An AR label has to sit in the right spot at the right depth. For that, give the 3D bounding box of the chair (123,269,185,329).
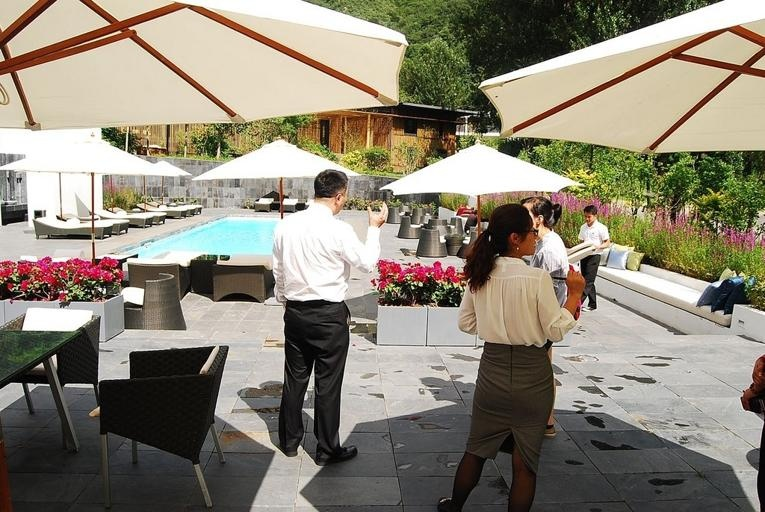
[{"bbox_3d":[-3.574,0.669,8.433,0.886,0.701,0.778,4,1,1],"label":"chair"}]

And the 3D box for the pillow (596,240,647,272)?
[{"bbox_3d":[5.444,-0.010,12.480,0.968,0.871,0.289,19,1,44],"label":"pillow"}]

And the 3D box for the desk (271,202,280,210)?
[{"bbox_3d":[-6.143,-2.881,31.175,0.499,0.352,0.494,-1,-1,-5],"label":"desk"}]

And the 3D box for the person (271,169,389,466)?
[{"bbox_3d":[-0.527,0.533,4.751,0.904,2.561,0.430,1,-2,1],"label":"person"}]

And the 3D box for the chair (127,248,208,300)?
[{"bbox_3d":[-4.424,0.288,10.490,0.854,0.643,1.555,5,5,-21],"label":"chair"}]

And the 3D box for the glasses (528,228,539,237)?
[{"bbox_3d":[1.132,-0.184,4.082,0.114,0.036,0.119,0,12,1],"label":"glasses"}]

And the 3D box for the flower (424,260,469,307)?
[{"bbox_3d":[0.933,0.399,8.222,0.604,0.473,0.618,0,2,-3],"label":"flower"}]

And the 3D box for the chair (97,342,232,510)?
[{"bbox_3d":[-1.647,1.383,4.847,1.178,1.586,1.051,3,-3,-9],"label":"chair"}]

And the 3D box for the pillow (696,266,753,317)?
[{"bbox_3d":[5.676,0.646,8.959,0.468,0.600,0.902,1,-2,-5],"label":"pillow"}]

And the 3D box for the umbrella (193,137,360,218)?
[{"bbox_3d":[-1.695,-1.107,8.955,1.689,0.791,1.782,6,-32,-26],"label":"umbrella"}]

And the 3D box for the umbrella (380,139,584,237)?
[{"bbox_3d":[1.186,-0.916,6.250,2.089,0.888,2.099,-4,-8,25],"label":"umbrella"}]

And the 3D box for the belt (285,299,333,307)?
[{"bbox_3d":[-0.647,0.408,4.656,0.452,0.079,0.073,1,-2,15],"label":"belt"}]
